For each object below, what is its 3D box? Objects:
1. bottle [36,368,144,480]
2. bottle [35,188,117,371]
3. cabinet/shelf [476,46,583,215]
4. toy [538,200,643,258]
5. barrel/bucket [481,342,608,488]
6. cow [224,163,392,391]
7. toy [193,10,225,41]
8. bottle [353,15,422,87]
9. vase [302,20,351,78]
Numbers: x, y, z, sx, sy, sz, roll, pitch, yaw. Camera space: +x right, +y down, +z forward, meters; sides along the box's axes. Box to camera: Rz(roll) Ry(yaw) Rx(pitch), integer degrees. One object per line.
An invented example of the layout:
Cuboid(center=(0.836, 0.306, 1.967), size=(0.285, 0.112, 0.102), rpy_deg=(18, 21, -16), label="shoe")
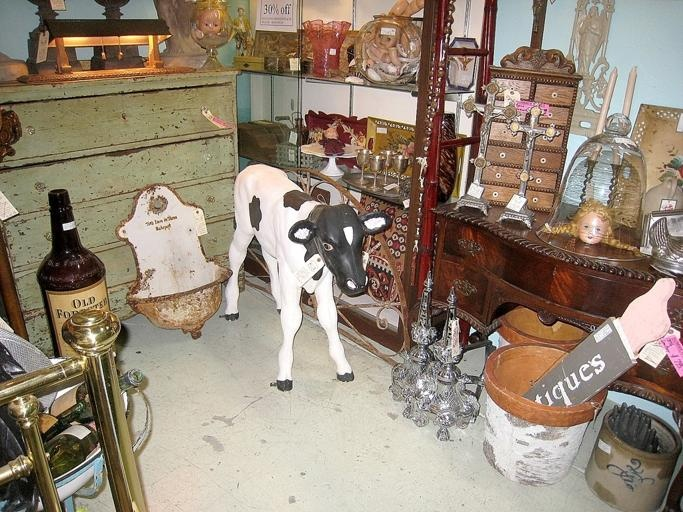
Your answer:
Cuboid(center=(-0.876, 0.588, 1.509), size=(0.137, 0.166, 0.391), rpy_deg=(-12, 24, -33), label="bottle")
Cuboid(center=(-1.478, 0.113, 2.528), size=(0.330, 1.007, 0.390), rpy_deg=(-6, 21, -19), label="bottle")
Cuboid(center=(1.079, -0.683, 2.831), size=(0.517, 0.931, 0.358), rpy_deg=(10, -2, 15), label="cabinet/shelf")
Cuboid(center=(1.229, -0.143, 2.228), size=(0.302, 0.138, 0.300), rpy_deg=(2, 20, 3), label="toy")
Cuboid(center=(1.050, 0.835, 2.547), size=(0.541, 0.580, 0.531), rpy_deg=(-3, 29, 1), label="barrel/bucket")
Cuboid(center=(-0.324, 0.111, 3.147), size=(0.659, 1.298, 1.641), rpy_deg=(-11, 29, -29), label="cow")
Cuboid(center=(-0.944, -1.648, 3.327), size=(0.189, 0.177, 0.185), rpy_deg=(-12, 32, -24), label="toy")
Cuboid(center=(0.277, -1.224, 2.797), size=(0.367, 0.440, 0.186), rpy_deg=(5, 5, 14), label="bottle")
Cuboid(center=(-0.120, -1.454, 3.326), size=(0.373, 0.352, 0.359), rpy_deg=(10, 17, 27), label="vase")
